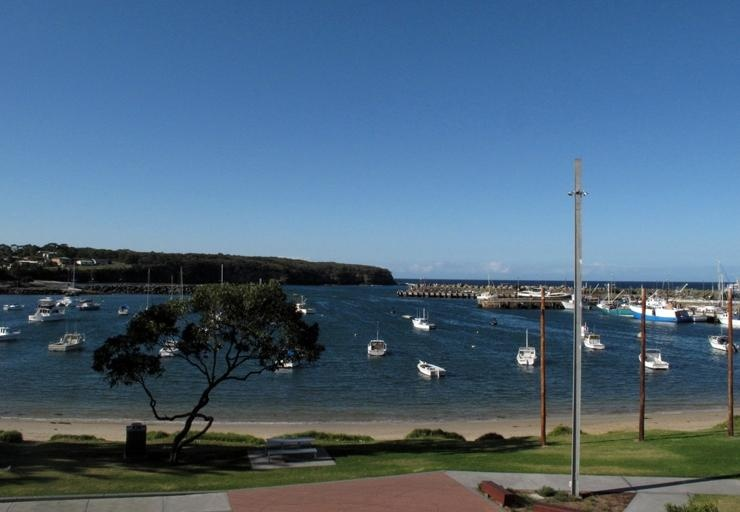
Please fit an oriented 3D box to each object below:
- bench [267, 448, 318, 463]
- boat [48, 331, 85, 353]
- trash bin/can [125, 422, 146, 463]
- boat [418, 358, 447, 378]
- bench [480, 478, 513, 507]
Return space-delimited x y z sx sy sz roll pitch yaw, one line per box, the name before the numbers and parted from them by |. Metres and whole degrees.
bench | -5.809 15.061 60.246 3.607 0.818 1.202 0 0 -11
boat | -44.355 13.219 118.993 2.600 2.170 7.515 3 2 4
trash bin/can | -17.910 14.308 61.325 1.557 2.538 1.370 0 1 -1
boat | 7.757 14.817 102.345 2.611 1.308 4.271 0 0 -28
bench | 8.635 15.926 53.732 1.216 0.496 2.212 -4 8 -38
